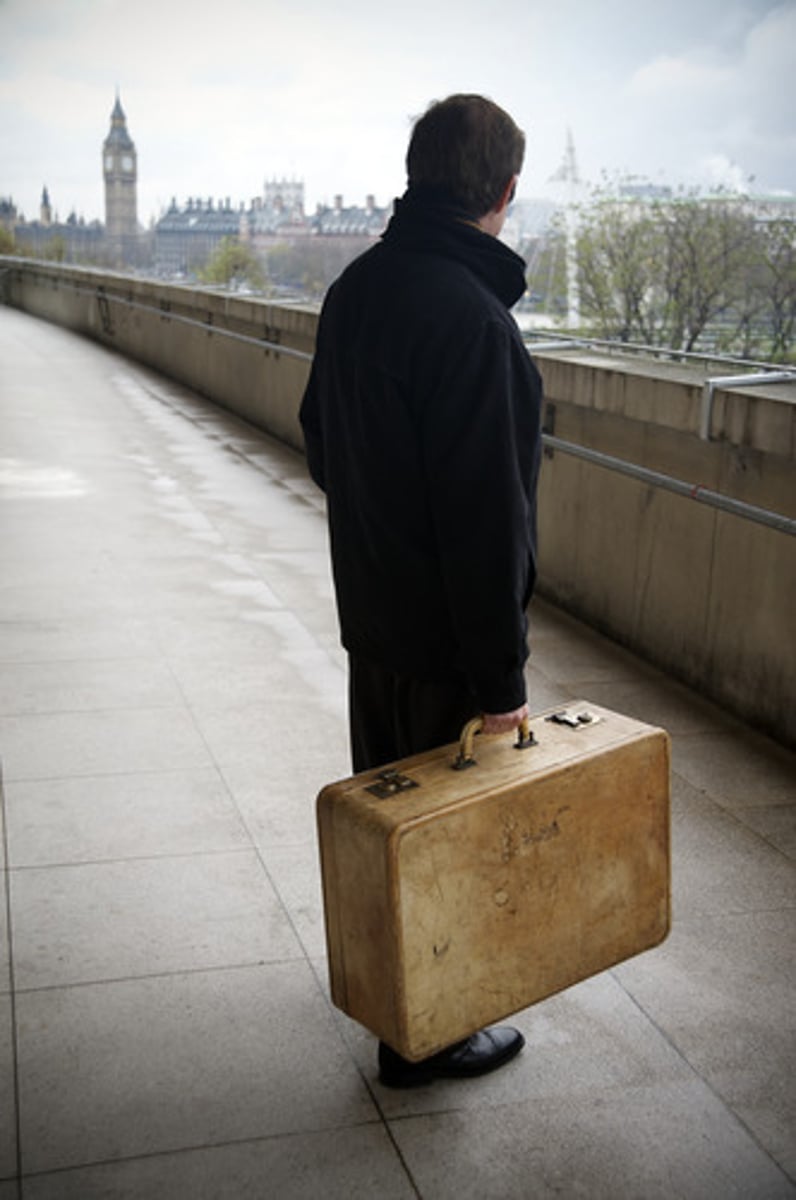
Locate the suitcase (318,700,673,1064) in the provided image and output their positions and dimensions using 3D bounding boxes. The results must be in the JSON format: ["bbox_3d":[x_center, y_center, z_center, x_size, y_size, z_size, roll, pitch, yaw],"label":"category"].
[{"bbox_3d":[0.140,0.406,1.373,0.406,0.434,0.144,-19,24,-36],"label":"suitcase"}]
